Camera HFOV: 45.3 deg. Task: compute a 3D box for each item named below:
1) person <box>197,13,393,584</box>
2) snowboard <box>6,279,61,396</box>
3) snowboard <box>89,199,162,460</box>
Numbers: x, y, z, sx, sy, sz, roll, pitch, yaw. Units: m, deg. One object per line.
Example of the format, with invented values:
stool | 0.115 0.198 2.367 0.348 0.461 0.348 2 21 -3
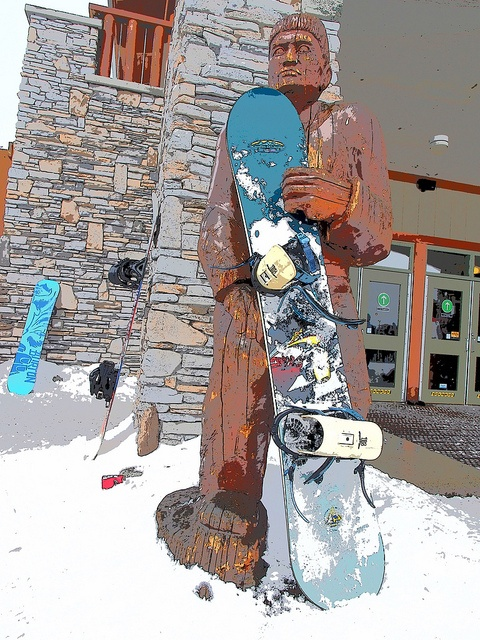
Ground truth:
person | 0.184 -0.134 2.348 0.826 2.308 0.631 1 -6 22
snowboard | -1.998 0.138 5.559 0.283 1.191 0.180 11 -18 -20
snowboard | -0.990 0.071 4.795 0.146 2.107 0.247 3 -8 39
